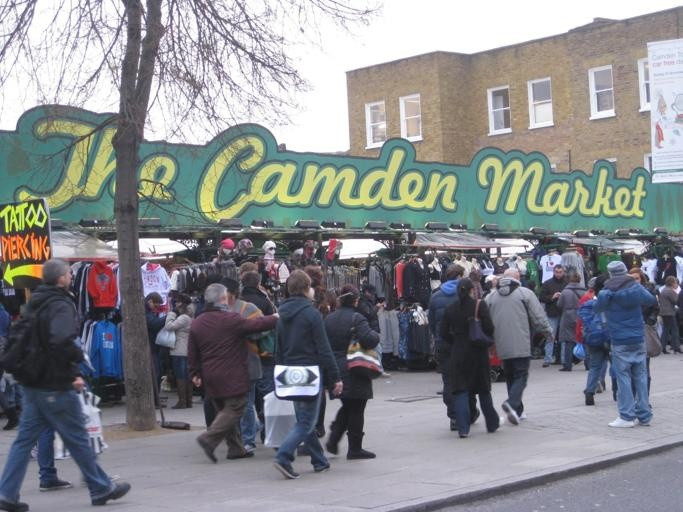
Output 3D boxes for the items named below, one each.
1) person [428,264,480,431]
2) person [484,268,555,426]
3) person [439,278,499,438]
[{"bbox_3d":[1.731,1.327,14.234,0.940,2.267,0.877,6,3,14],"label":"person"},{"bbox_3d":[2.729,1.298,14.029,0.819,2.173,0.997,-1,0,36],"label":"person"},{"bbox_3d":[1.822,1.460,13.180,0.772,2.248,0.451,-2,-2,8],"label":"person"}]
